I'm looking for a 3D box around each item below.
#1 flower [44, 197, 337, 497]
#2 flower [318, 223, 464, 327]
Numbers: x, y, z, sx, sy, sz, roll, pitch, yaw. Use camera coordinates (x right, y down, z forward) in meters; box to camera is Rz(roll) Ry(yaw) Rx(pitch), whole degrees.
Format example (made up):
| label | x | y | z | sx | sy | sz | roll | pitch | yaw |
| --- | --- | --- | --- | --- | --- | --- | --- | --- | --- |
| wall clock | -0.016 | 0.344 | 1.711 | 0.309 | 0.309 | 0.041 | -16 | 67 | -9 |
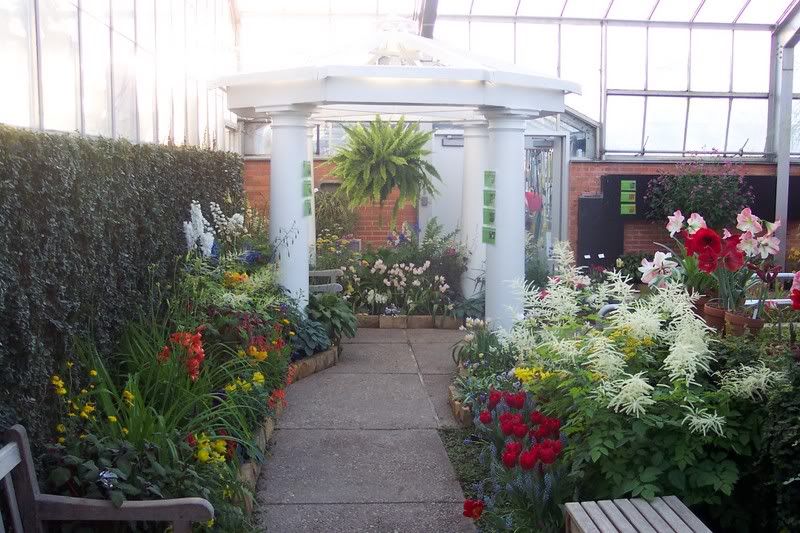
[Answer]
| label | x | y | z | sx | sy | sz | roll | pitch | yaw |
| --- | --- | --- | --- | --- | --- | --- | --- | --- | --- |
| flower | -1.591 | 0.727 | 4.855 | 0.922 | 1.032 | 2.621 | 1 | 3 | 1 |
| flower | 0.029 | 0.112 | 9.284 | 1.520 | 0.812 | 1.649 | 0 | 19 | 1 |
